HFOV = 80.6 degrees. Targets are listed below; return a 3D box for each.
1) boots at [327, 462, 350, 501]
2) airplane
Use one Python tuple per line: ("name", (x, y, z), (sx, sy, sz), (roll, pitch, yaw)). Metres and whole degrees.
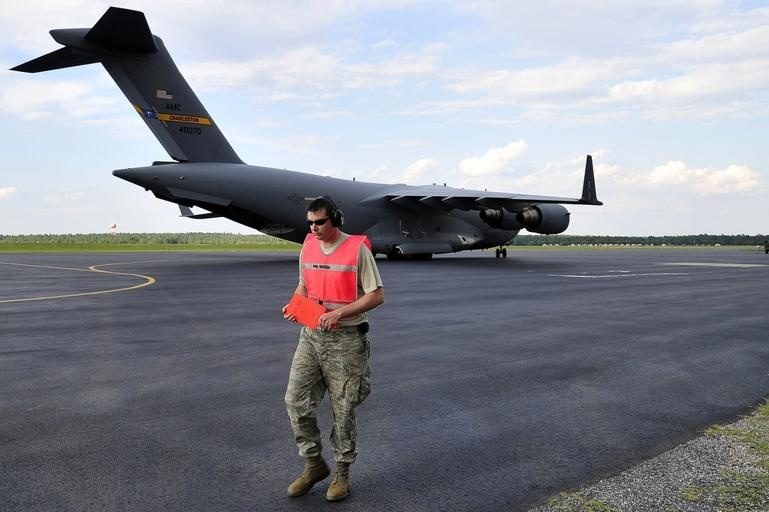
("boots", (-0.397, 2.003, 3.958), (0.174, 0.191, 0.374), (0, -5, 6))
("airplane", (-3.613, -4.945, 27.007), (18.426, 5.546, 20.118), (2, 0, 44))
